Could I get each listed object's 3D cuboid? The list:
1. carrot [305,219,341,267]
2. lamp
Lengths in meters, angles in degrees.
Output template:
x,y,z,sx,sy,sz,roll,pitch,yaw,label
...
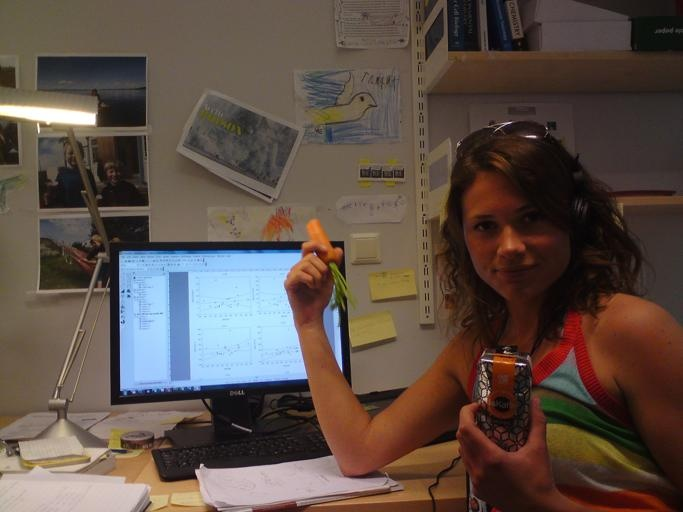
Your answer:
x,y,z,sx,sy,sz,roll,pitch,yaw,label
-0.047,-0.054,1.363,0.045,0.146,0.039,-26,-37,20,carrot
-0.726,0.006,1.468,0.236,0.834,0.509,-1,7,-22,lamp
